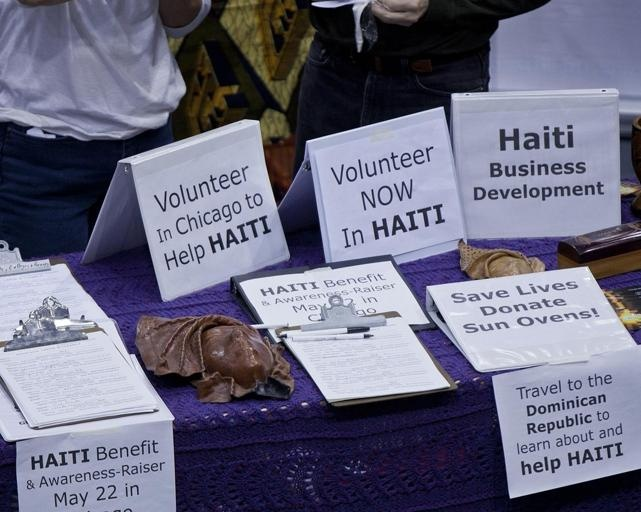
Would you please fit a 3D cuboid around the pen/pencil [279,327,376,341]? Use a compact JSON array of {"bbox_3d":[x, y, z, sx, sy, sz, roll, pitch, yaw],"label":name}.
[{"bbox_3d":[0.016,0.146,1.217,0.166,0.020,0.019,-2,6,0],"label":"pen/pencil"}]
